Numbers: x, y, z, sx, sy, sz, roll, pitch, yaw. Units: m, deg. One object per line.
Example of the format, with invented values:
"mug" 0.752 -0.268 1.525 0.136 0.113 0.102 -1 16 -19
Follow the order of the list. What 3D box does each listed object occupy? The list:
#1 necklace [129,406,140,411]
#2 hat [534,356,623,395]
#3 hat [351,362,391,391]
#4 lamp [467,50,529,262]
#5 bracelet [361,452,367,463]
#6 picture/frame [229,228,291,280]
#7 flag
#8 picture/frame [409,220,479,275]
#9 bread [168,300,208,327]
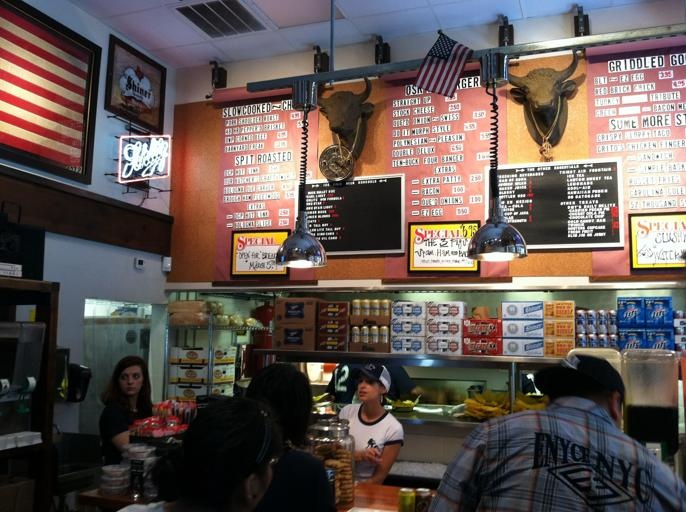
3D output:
"necklace" -1.708 1.245 4.990 0.071 0.016 0.069 1 -4 -5
"hat" 1.092 0.560 2.812 0.288 0.144 0.206 18 -17 19
"hat" 0.271 0.928 4.649 0.269 0.137 0.183 32 -19 -32
"lamp" 1.052 -0.727 4.390 0.361 1.565 1.332 -3 -9 12
"bracelet" 0.136 1.375 4.188 0.040 0.042 0.044 1 -7 -12
"picture/frame" -0.783 -0.009 5.895 0.544 0.392 0.053 -1 -7 11
"flag" 0.657 -1.264 3.989 0.357 0.477 0.160 -2 -9 10
"picture/frame" 0.916 -0.061 5.431 0.529 0.358 0.027 0 -9 14
"bread" -1.538 0.571 6.081 0.371 0.176 0.273 0 0 3
